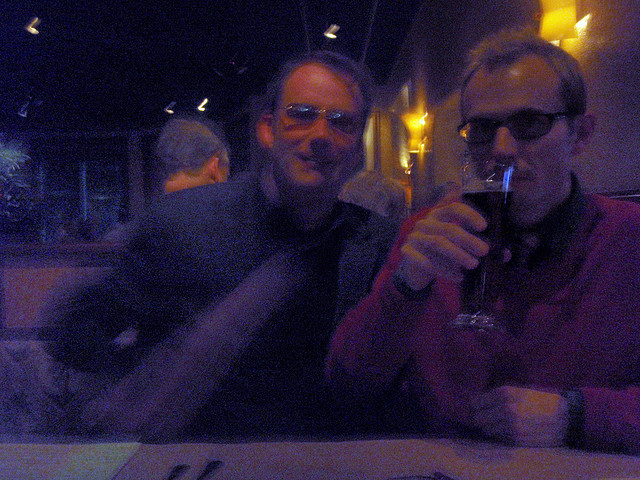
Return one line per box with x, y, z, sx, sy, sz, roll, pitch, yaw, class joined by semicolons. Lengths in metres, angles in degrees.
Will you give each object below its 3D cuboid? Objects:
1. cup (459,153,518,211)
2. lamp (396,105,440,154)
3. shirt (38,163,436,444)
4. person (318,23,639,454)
0.542;-0.207;1.900;0.186;0.256;0.177;1;7;0;cup
0.362;-0.413;2.192;0.176;0.150;0.167;-2;0;10;lamp
-0.327;0.246;2.556;1.057;1.217;0.510;12;1;-5;shirt
0.638;-0.042;2.079;0.972;1.504;0.534;3;10;25;person
